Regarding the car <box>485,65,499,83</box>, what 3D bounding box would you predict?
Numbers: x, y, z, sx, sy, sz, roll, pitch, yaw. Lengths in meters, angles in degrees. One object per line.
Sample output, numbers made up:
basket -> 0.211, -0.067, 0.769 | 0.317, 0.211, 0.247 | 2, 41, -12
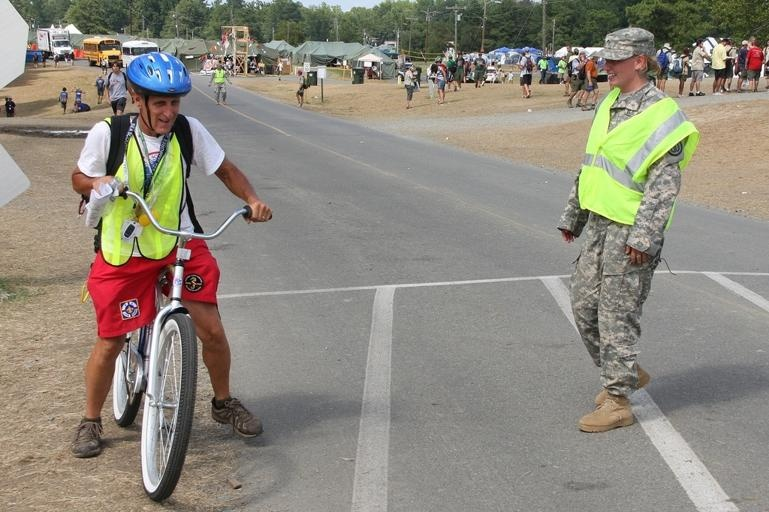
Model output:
car -> 8.685, -14.310, 63.298 | 1.880, 1.148, 2.779 | 0, 10, 5

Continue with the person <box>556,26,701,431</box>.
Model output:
person -> 1.687, -0.181, 5.784 | 0.696, 2.758, 1.171 | 8, 22, 11

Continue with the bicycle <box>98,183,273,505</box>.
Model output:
bicycle -> -1.382, 0.508, 5.124 | 0.633, 1.811, 1.309 | -4, 22, -18

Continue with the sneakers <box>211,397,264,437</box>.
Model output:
sneakers -> -0.999, 1.127, 5.677 | 0.487, 0.188, 0.170 | 15, 37, 28

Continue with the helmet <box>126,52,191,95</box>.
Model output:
helmet -> -1.409, -1.152, 5.173 | 0.384, 0.278, 0.334 | -3, 21, -15

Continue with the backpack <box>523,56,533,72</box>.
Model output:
backpack -> 7.302, -9.728, 41.053 | 0.388, 0.843, 0.865 | 6, 21, 6

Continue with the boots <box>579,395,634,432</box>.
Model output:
boots -> 1.583, 1.141, 5.859 | 0.504, 0.204, 0.173 | -4, 5, -18

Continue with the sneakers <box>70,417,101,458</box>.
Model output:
sneakers -> -1.923, 1.227, 5.334 | 0.149, 0.119, 0.319 | 0, 2, -13

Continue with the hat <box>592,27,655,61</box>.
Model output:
hat -> 1.708, -1.519, 5.811 | 0.375, 0.135, 0.245 | -2, 14, -5
